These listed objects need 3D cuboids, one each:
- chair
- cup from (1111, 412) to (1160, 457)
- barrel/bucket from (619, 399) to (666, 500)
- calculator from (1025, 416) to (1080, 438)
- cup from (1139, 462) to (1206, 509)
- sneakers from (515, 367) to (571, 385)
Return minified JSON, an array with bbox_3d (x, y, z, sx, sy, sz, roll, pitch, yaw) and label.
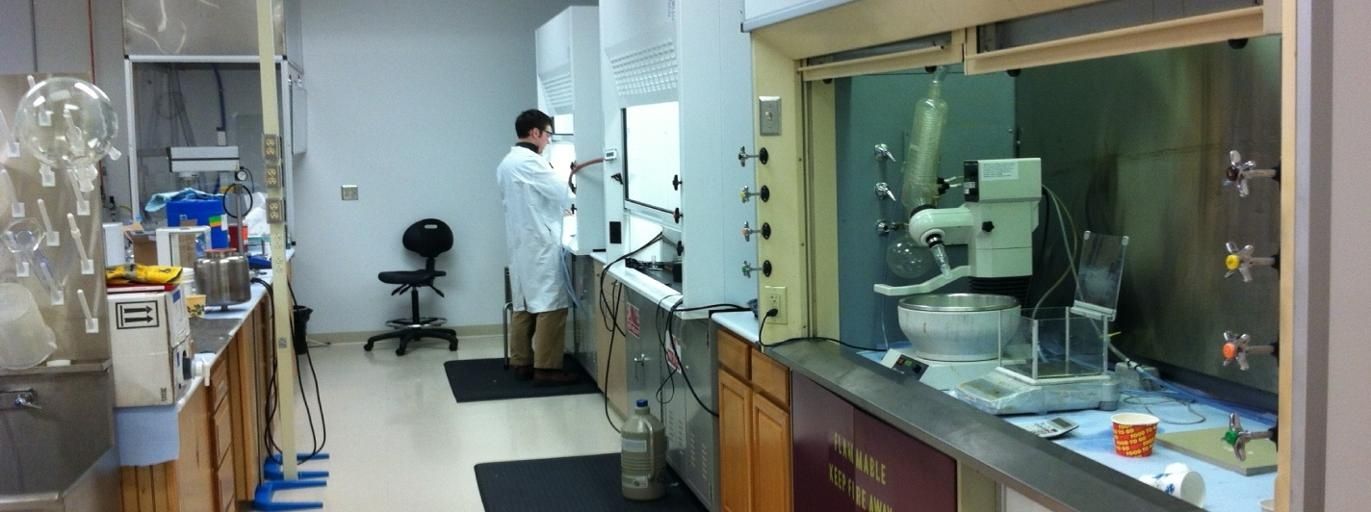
[{"bbox_3d":[-3.141,0.331,9.605,1.075,1.488,0.641,-6,7,-12],"label":"chair"},{"bbox_3d":[2.708,1.088,5.184,0.319,0.165,0.272,-1,3,-7],"label":"cup"},{"bbox_3d":[-0.378,1.563,6.841,0.403,0.831,0.224,-5,7,3],"label":"barrel/bucket"},{"bbox_3d":[2.255,1.068,5.227,0.303,0.094,0.127,-5,6,-16],"label":"calculator"},{"bbox_3d":[2.842,1.331,4.906,0.298,0.202,0.216,1,8,39],"label":"cup"},{"bbox_3d":[-1.435,1.220,8.597,0.660,0.186,0.184,0,4,-1],"label":"sneakers"}]
